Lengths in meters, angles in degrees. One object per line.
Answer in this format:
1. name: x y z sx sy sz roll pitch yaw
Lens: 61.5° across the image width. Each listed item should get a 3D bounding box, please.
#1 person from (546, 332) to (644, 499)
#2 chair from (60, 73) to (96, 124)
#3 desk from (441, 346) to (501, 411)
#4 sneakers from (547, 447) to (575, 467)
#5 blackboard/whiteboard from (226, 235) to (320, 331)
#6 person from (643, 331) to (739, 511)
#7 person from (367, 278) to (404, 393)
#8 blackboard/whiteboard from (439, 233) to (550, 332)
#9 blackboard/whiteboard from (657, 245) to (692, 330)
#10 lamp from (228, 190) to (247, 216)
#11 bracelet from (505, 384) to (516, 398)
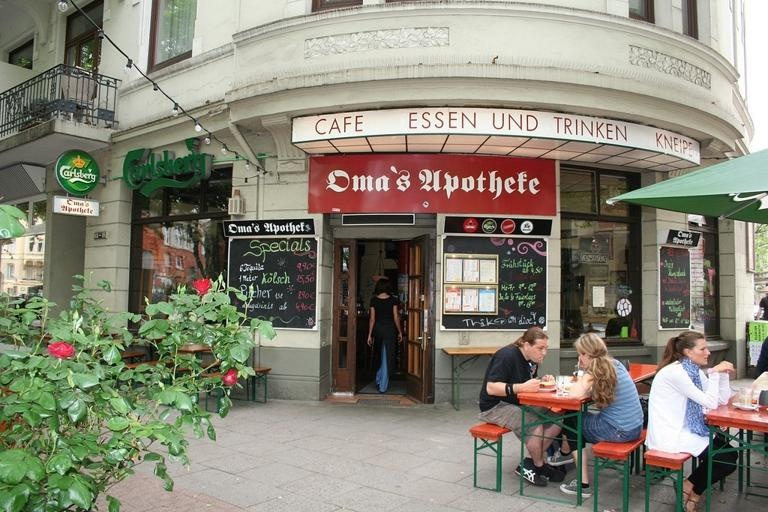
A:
1. person: 2.839 2.056 8.531 1.000 2.128 0.682 1 9 2
2. chair: -7.130 -3.709 15.039 0.792 1.014 1.053 -3 9 -24
3. desk: 1.798 2.314 12.248 1.285 1.070 0.865 -1 -2 -9
4. sneakers: 2.459 2.811 9.040 0.443 0.178 0.184 0 0 4
5. blackboard/whiteboard: -1.974 0.492 12.018 1.954 1.788 0.133 -1 -5 8
6. person: 3.889 2.093 8.179 1.193 2.211 0.761 0 9 -1
7. person: 0.002 1.668 13.656 0.645 2.425 1.057 1 8 2
8. blackboard/whiteboard: 2.017 0.528 12.378 1.999 1.579 0.126 0 0 -1
9. blackboard/whiteboard: 6.167 0.678 13.757 0.173 2.362 1.838 -4 -5 45
10. lamp: -2.993 -1.092 13.035 0.298 0.530 0.301 -6 11 -37
11. bracelet: 1.724 1.849 8.790 0.178 0.186 0.148 3 3 -18
